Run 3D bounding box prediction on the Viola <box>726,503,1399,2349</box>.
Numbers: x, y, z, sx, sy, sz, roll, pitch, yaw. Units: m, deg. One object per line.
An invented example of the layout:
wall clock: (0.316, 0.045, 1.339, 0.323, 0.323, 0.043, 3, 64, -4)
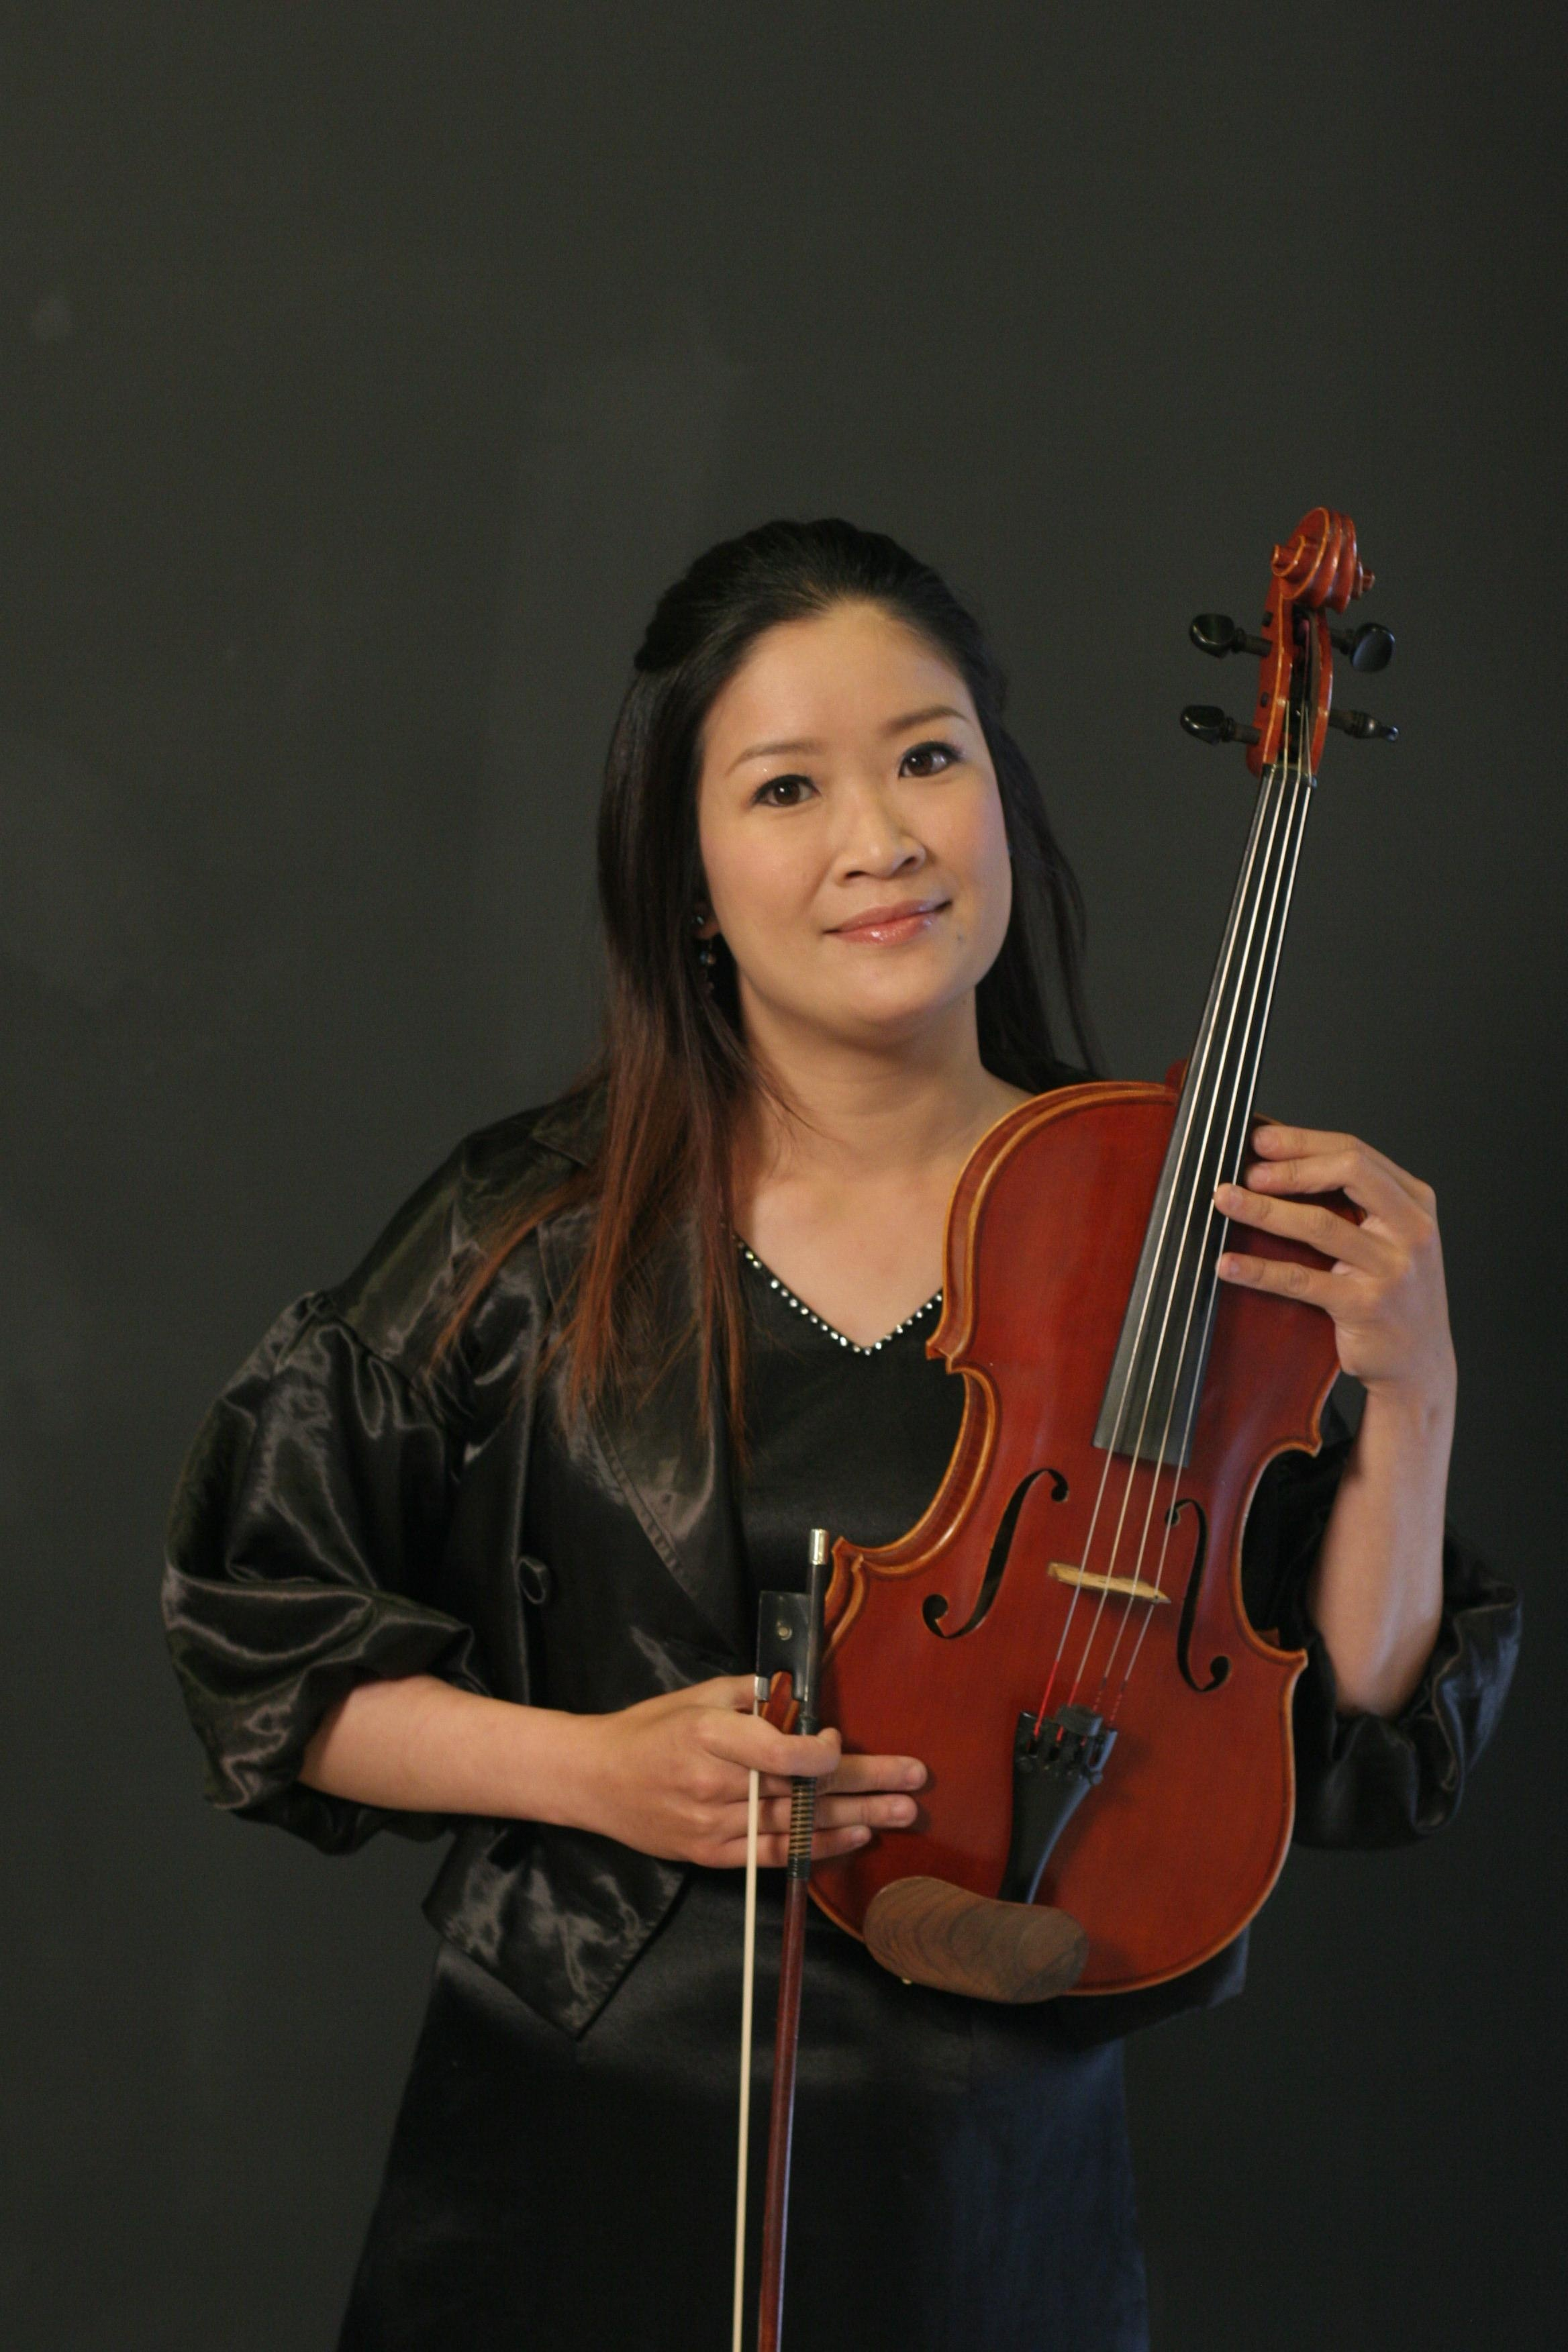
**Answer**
Viola: (0.167, 0.191, 1.423, 0.340, 0.803, 0.147, 20, -8, -28)
